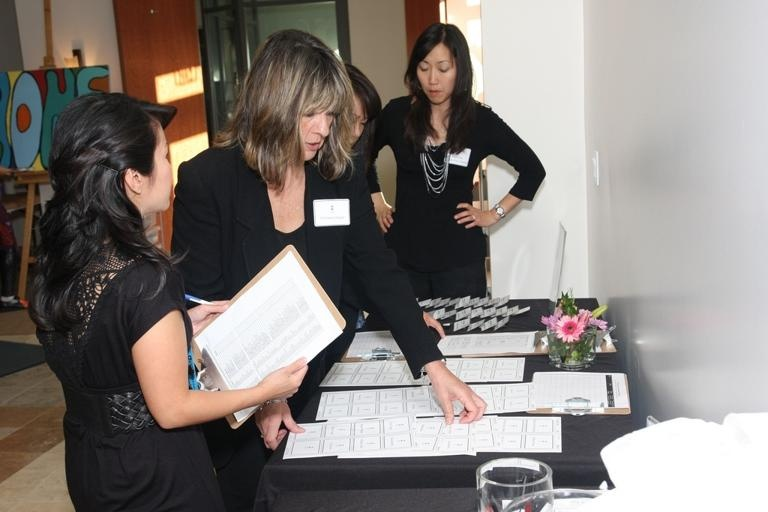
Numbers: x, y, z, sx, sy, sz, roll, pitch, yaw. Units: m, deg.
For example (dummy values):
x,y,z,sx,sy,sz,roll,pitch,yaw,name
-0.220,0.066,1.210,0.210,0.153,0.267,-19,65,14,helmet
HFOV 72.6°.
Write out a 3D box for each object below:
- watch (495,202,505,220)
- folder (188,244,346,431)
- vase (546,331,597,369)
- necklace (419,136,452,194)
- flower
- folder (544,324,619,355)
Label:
x,y,z,sx,sy,sz,roll,pitch,yaw,name
0.639,-0.245,2.879,0.050,0.088,0.086,-24,-15,5,watch
-0.344,0.213,1.446,0.478,0.352,0.036,-46,-9,-1,folder
0.658,0.318,1.815,0.156,0.129,0.163,-3,-3,26,vase
0.273,-0.420,2.707,0.149,0.300,0.006,10,-30,-9,necklace
0.675,0.255,1.809,0.205,0.231,0.215,-3,3,-16,flower
0.757,0.318,1.883,0.120,0.052,0.192,-4,12,0,folder
